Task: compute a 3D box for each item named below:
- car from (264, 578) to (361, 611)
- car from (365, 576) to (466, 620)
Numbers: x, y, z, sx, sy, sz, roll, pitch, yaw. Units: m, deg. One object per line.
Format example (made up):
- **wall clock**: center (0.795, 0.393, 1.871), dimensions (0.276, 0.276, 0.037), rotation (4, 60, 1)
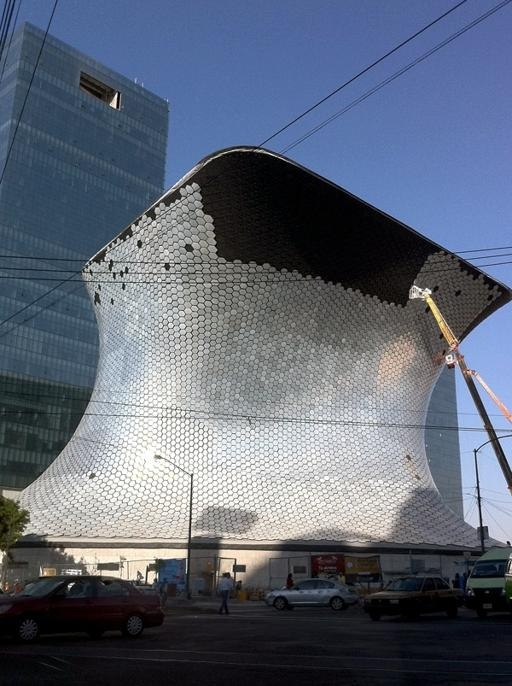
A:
- **car**: center (1.752, 8.057, 22.486), dimensions (2.723, 0.825, 1.082), rotation (-1, -25, 11)
- **car**: center (4.188, 6.606, 18.453), dimensions (2.665, 0.943, 1.246), rotation (25, -41, -35)
